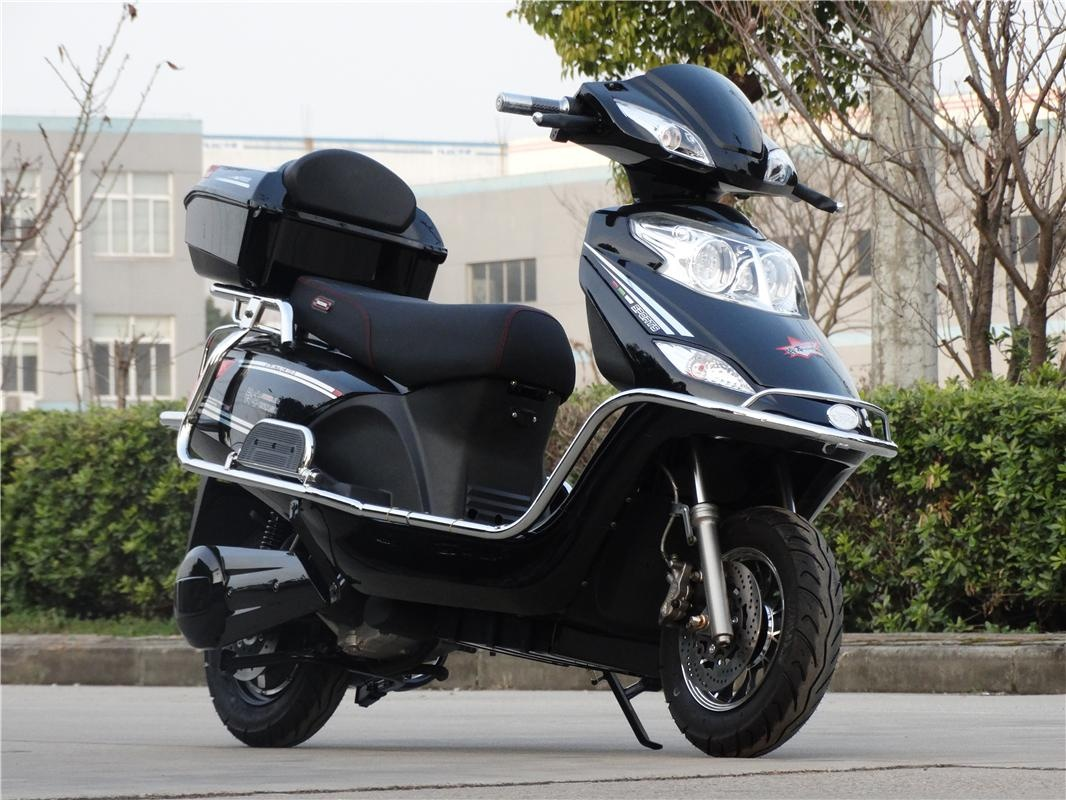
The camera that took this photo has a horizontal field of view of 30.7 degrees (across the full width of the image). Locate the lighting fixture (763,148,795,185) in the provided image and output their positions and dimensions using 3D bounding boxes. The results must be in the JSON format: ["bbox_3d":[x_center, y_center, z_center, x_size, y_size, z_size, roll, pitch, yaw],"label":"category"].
[{"bbox_3d":[1.216,-1.148,9.543,0.139,0.188,0.079,3,3,-13],"label":"lighting fixture"}]

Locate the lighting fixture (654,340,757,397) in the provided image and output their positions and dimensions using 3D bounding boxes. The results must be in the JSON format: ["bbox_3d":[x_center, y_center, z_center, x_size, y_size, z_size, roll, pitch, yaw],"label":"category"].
[{"bbox_3d":[0.796,-0.157,9.113,0.596,0.161,0.161,24,-5,29],"label":"lighting fixture"}]

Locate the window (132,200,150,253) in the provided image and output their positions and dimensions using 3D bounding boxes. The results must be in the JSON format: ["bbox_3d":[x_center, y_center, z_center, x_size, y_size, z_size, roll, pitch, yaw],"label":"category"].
[{"bbox_3d":[-7.841,-3.601,38.919,0.381,0.171,1.548,-2,-43,-13],"label":"window"}]

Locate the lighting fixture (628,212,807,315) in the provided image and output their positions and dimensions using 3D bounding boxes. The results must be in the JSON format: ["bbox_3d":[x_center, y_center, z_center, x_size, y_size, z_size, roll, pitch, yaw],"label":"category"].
[{"bbox_3d":[0.882,-0.656,9.313,0.650,0.234,0.494,19,-3,23],"label":"lighting fixture"}]
